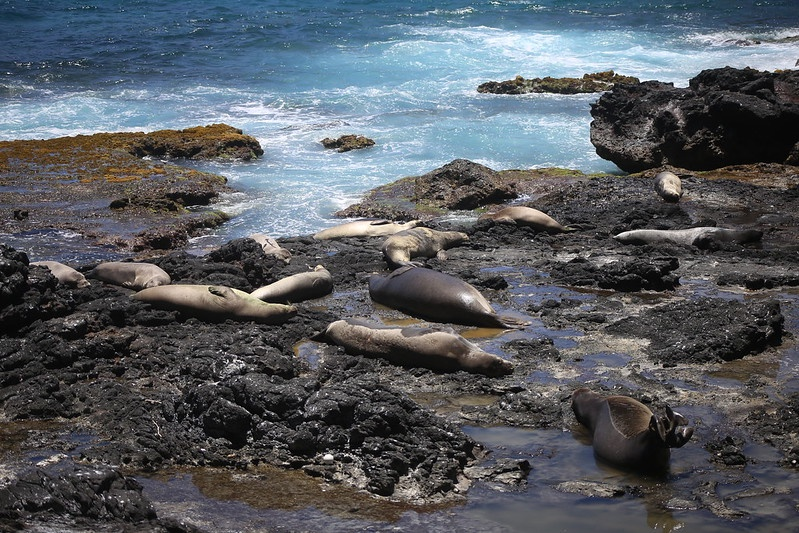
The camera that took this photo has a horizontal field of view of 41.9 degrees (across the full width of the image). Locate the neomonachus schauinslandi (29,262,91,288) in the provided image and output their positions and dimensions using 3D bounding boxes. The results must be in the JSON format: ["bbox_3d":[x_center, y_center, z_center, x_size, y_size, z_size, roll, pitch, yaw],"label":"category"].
[{"bbox_3d":[-8.881,0.207,27.603,1.289,0.685,1.115,-4,16,-12],"label":"neomonachus schauinslandi"}]
